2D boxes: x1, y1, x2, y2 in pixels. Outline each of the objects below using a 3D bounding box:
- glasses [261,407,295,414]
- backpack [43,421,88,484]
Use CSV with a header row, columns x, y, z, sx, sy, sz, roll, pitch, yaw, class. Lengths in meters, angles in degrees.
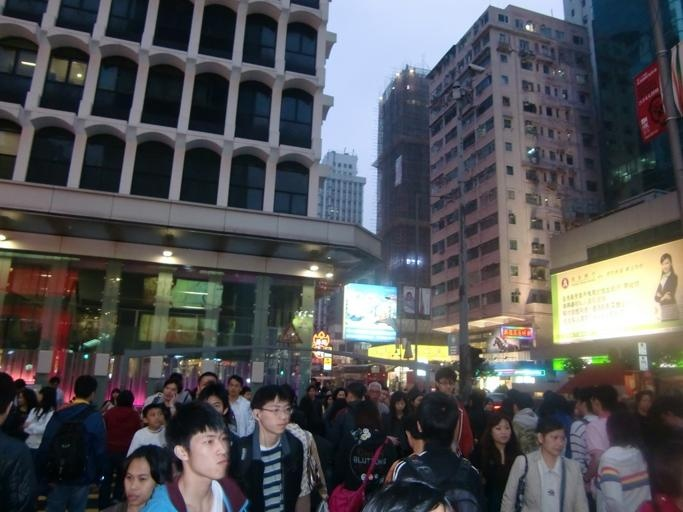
x,y,z,sx,sy,sz,roll,pitch,yaw,class
-0.894,2.169,7.403,0.439,0.120,0.160,7,-16,-26,glasses
-4.601,3.230,8.838,0.584,0.910,0.282,4,-15,-16,backpack
